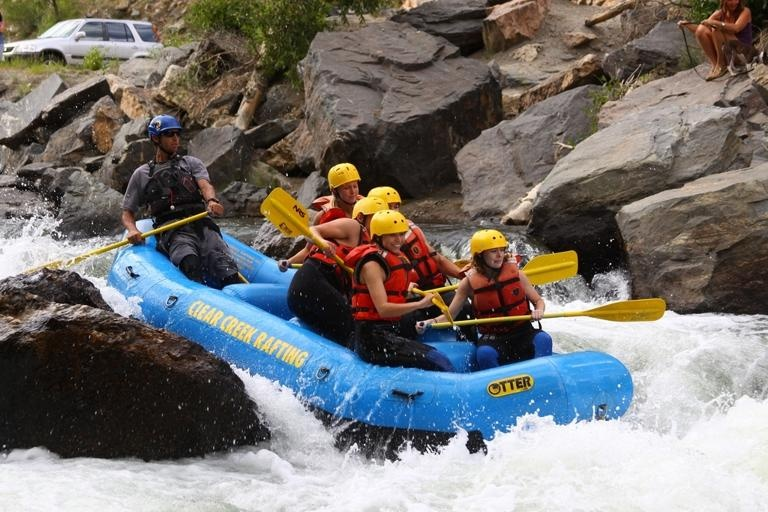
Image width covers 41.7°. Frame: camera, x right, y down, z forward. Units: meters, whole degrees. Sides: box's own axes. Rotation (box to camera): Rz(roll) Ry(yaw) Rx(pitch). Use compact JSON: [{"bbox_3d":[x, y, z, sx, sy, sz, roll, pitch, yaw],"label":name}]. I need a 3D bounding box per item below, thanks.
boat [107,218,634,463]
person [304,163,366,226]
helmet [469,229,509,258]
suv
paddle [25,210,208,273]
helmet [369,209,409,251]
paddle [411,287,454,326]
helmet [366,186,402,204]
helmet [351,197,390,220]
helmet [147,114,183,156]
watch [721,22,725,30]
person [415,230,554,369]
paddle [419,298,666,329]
[{"bbox_3d":[-0.449,1.077,10.670,4.103,0.700,2.378,22,14,20],"label":"boat"},{"bbox_3d":[-0.531,-0.699,11.465,0.532,0.718,0.390,5,3,-24],"label":"person"},{"bbox_3d":[1.077,-0.143,10.525,0.327,0.248,0.258,-20,-9,36],"label":"helmet"},{"bbox_3d":[-6.946,-4.925,23.256,2.825,1.025,1.606,0,9,-21],"label":"suv"},{"bbox_3d":[-3.495,-0.165,13.177,2.485,0.266,0.125,-21,-1,3],"label":"paddle"},{"bbox_3d":[0.034,-0.267,10.372,0.334,0.395,0.424,-7,9,-45],"label":"helmet"},{"bbox_3d":[0.490,0.541,10.669,0.093,0.128,0.548,-35,44,-10],"label":"paddle"},{"bbox_3d":[-0.008,-0.692,11.300,0.298,0.162,0.211,-4,9,17],"label":"helmet"},{"bbox_3d":[-0.180,-0.526,10.845,0.295,0.143,0.225,-17,3,13],"label":"helmet"},{"bbox_3d":[-2.609,-1.440,12.030,0.350,0.503,0.417,-15,19,-7],"label":"helmet"},{"bbox_3d":[4.677,-3.180,13.952,0.079,0.078,0.021,4,-12,19],"label":"watch"},{"bbox_3d":[1.067,0.521,10.785,1.232,1.416,0.910,-11,-5,-16],"label":"person"},{"bbox_3d":[1.684,0.635,10.930,2.724,0.349,0.102,-4,-28,6],"label":"paddle"}]
